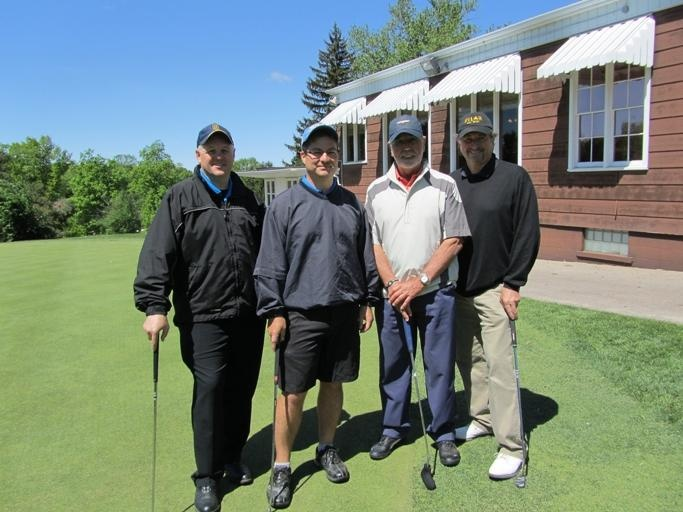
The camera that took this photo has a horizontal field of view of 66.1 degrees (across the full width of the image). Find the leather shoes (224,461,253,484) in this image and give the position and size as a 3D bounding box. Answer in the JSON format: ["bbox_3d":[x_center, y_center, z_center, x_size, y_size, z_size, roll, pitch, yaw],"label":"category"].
[{"bbox_3d":[-0.796,1.700,4.118,0.108,0.102,0.219,0,-1,-44],"label":"leather shoes"}]

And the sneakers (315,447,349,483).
[{"bbox_3d":[-0.072,1.624,4.107,0.140,0.140,0.306,2,-4,-31],"label":"sneakers"}]

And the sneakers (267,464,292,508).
[{"bbox_3d":[-0.451,1.716,3.877,0.110,0.151,0.334,4,-1,-4],"label":"sneakers"}]

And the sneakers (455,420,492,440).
[{"bbox_3d":[1.125,1.479,4.487,0.296,0.140,0.135,1,-4,-6],"label":"sneakers"}]

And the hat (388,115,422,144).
[{"bbox_3d":[0.521,-1.093,4.396,0.281,0.227,0.481,-5,-1,4],"label":"hat"}]

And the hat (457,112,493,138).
[{"bbox_3d":[1.161,-1.124,4.522,0.202,0.167,0.305,-1,2,22],"label":"hat"}]

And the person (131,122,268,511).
[{"bbox_3d":[-0.991,0.386,4.068,0.658,2.751,1.020,6,15,39],"label":"person"}]

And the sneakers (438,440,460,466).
[{"bbox_3d":[0.869,1.563,4.241,0.179,0.143,0.246,-2,12,4],"label":"sneakers"}]

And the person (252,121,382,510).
[{"bbox_3d":[-0.243,0.362,4.117,1.205,2.708,0.526,-12,15,-38],"label":"person"}]

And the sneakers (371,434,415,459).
[{"bbox_3d":[0.391,1.565,4.364,0.316,0.134,0.125,-4,5,-44],"label":"sneakers"}]

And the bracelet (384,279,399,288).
[{"bbox_3d":[0.405,0.220,4.235,0.087,0.081,0.058,-51,-8,34],"label":"bracelet"}]
